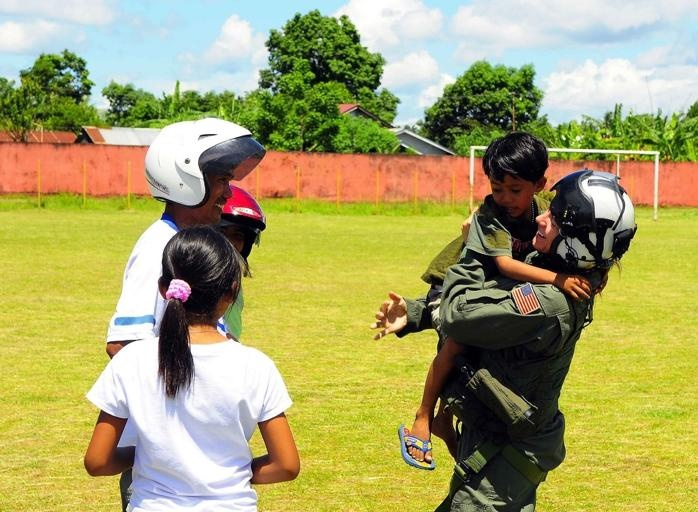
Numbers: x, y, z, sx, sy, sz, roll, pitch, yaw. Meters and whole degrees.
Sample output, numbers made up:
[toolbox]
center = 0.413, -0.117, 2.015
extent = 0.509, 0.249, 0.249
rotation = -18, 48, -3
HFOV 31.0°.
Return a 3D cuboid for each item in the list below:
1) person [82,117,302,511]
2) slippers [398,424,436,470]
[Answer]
[person]
center = -1.427, -0.188, 10.741
extent = 0.623, 1.999, 1.386
rotation = 7, 7, 43
[slippers]
center = 0.562, 1.573, 10.802
extent = 0.258, 0.172, 0.599
rotation = 6, 28, -24
